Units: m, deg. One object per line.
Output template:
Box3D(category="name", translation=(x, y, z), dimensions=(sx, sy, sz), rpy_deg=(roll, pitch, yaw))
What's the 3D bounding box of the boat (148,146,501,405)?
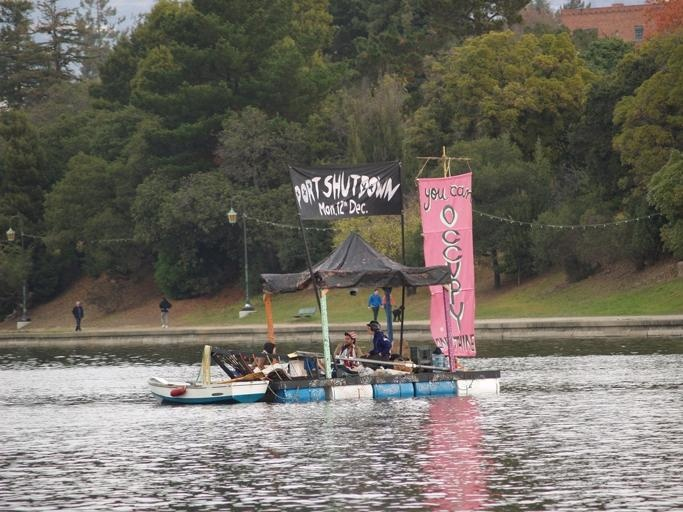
Box3D(category="boat", translation=(-0.172, 1.850, 121.148), dimensions=(18.242, 14.368, 3.935), rpy_deg=(-4, -3, -7))
